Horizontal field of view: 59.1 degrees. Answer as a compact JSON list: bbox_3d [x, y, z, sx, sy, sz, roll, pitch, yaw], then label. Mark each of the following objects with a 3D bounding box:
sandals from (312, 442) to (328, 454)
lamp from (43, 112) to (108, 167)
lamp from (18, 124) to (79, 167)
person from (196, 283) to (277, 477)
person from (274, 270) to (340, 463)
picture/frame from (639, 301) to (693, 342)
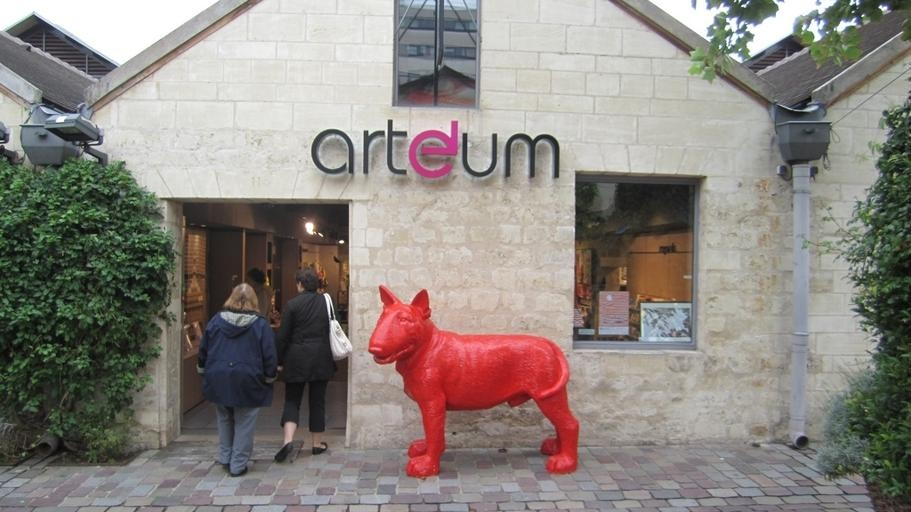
[{"bbox_3d":[-2.103,2.984,12.577,0.123,0.091,0.231,2,6,24],"label":"sandals"},{"bbox_3d":[-5.884,-1.772,12.647,0.737,0.652,0.935,0,-8,19],"label":"lamp"},{"bbox_3d":[-6.300,-1.681,12.688,0.813,0.508,0.713,2,-8,13],"label":"lamp"},{"bbox_3d":[-3.281,1.846,12.107,1.160,2.838,0.405,0,-2,-9],"label":"person"},{"bbox_3d":[-2.337,1.661,12.558,0.887,2.939,0.467,0,-2,-9],"label":"person"},{"bbox_3d":[3.478,1.096,13.276,0.720,0.487,0.052,1,-7,-3],"label":"picture/frame"}]
